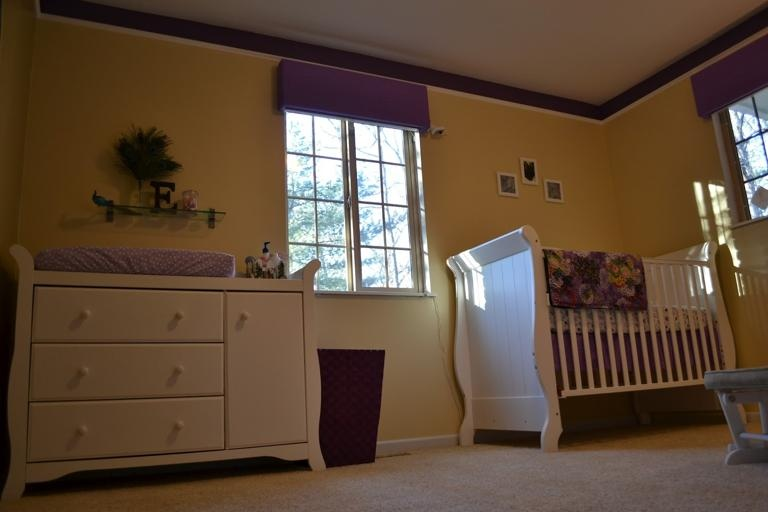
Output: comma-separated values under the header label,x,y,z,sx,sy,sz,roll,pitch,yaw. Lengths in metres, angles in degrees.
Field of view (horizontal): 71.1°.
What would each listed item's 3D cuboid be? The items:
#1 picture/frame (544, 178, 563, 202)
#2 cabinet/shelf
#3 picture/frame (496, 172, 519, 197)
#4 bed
label,x,y,z,sx,sy,sz,roll,pitch,yaw
picture/frame,1.558,-0.600,4.973,0.209,0.211,0.015,3,-8,-17
cabinet/shelf,-1.283,0.693,3.032,1.242,0.984,0.478,3,-14,-18
picture/frame,1.092,-0.632,4.798,0.220,0.216,0.018,4,-12,-26
bed,1.700,0.624,4.365,2.096,1.567,1.223,1,-12,-21
